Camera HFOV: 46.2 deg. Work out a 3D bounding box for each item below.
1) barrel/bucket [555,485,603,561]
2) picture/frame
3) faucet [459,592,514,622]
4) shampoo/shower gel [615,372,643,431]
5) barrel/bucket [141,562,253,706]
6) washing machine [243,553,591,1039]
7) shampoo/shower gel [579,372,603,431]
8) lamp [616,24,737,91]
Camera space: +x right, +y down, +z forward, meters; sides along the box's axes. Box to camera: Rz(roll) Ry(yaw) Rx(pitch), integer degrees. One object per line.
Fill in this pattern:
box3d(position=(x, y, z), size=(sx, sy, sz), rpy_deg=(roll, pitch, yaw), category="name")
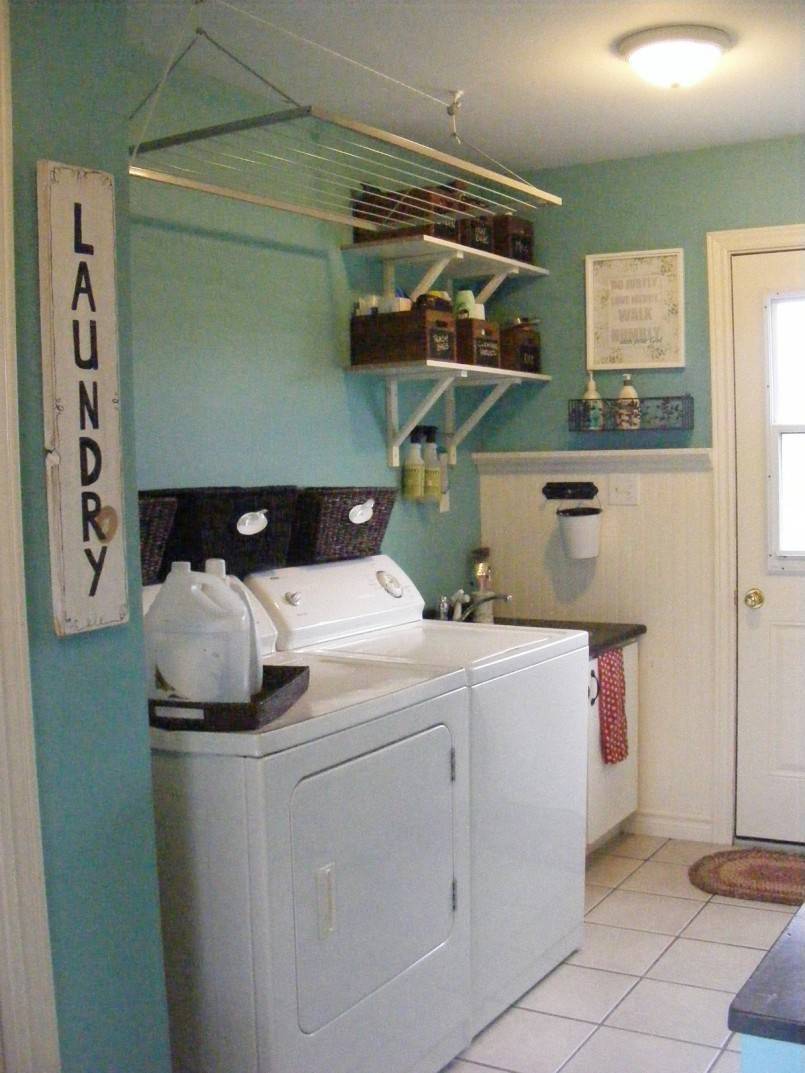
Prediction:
box3d(position=(0.665, -0.049, 3.536), size=(0.160, 0.236, 0.193), rpy_deg=(-3, 1, 10), category="barrel/bucket")
box3d(position=(0.857, -0.836, 3.432), size=(0.481, 0.561, 0.040), rpy_deg=(1, 2, 25), category="picture/frame")
box3d(position=(0.272, 0.252, 3.340), size=(0.087, 0.106, 0.277), rpy_deg=(0, 3, -26), category="faucet")
box3d(position=(0.815, -0.487, 3.415), size=(0.089, 0.163, 0.049), rpy_deg=(-3, 1, 13), category="shampoo/shower gel")
box3d(position=(-0.352, 0.167, 1.628), size=(0.174, 0.233, 0.107), rpy_deg=(-3, 1, -16), category="barrel/bucket")
box3d(position=(0.193, 0.468, 3.067), size=(0.993, 1.727, 1.277), rpy_deg=(0, 3, 27), category="washing machine")
box3d(position=(0.703, -0.504, 3.494), size=(0.076, 0.182, 0.122), rpy_deg=(-3, 1, 13), category="shampoo/shower gel")
box3d(position=(0.673, -1.198, 2.350), size=(0.298, 0.093, 0.260), rpy_deg=(-3, 1, 12), category="lamp")
